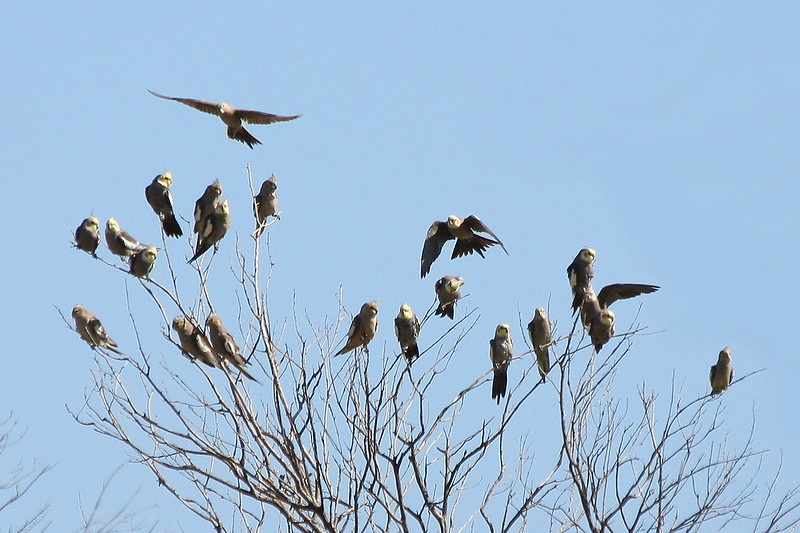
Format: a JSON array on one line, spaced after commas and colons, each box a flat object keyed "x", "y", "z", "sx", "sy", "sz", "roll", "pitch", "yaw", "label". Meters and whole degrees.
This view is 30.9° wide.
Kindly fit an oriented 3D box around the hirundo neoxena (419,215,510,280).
[{"x": 0.674, "y": -0.213, "z": 14.300, "sx": 0.924, "sy": 0.709, "sz": 0.360, "roll": -22, "pitch": -63, "yaw": -22, "label": "hirundo neoxena"}]

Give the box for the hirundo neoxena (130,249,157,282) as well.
[{"x": -2.275, "y": -0.040, "z": 12.821, "sx": 0.116, "sy": 0.330, "sz": 0.236, "roll": -3, "pitch": -58, "yaw": -16, "label": "hirundo neoxena"}]

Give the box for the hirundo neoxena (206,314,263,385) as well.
[{"x": -1.561, "y": 0.761, "z": 13.679, "sx": 0.707, "sy": 0.244, "sz": 0.529, "roll": 18, "pitch": -92, "yaw": -31, "label": "hirundo neoxena"}]

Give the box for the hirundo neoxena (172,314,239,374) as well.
[{"x": -1.878, "y": 0.742, "z": 13.496, "sx": 0.322, "sy": 0.587, "sz": 0.488, "roll": -34, "pitch": -49, "yaw": 17, "label": "hirundo neoxena"}]

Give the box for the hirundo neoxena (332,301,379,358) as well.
[{"x": -0.428, "y": 0.521, "z": 13.921, "sx": 0.252, "sy": 0.787, "sz": 0.562, "roll": -10, "pitch": -79, "yaw": -32, "label": "hirundo neoxena"}]

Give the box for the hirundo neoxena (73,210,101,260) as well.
[{"x": -3.084, "y": -0.351, "z": 14.281, "sx": 0.219, "sy": 0.435, "sz": 0.432, "roll": 13, "pitch": -77, "yaw": -27, "label": "hirundo neoxena"}]

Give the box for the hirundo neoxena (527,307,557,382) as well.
[{"x": 1.351, "y": 0.716, "z": 13.828, "sx": 0.189, "sy": 0.655, "sz": 0.435, "roll": -5, "pitch": -61, "yaw": 3, "label": "hirundo neoxena"}]

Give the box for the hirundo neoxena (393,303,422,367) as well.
[{"x": 0.071, "y": 0.598, "z": 13.762, "sx": 0.215, "sy": 0.489, "sz": 0.509, "roll": -1, "pitch": -10, "yaw": 8, "label": "hirundo neoxena"}]

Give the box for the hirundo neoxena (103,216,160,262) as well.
[{"x": -2.684, "y": -0.273, "z": 14.386, "sx": 0.556, "sy": 0.293, "sz": 0.432, "roll": -1, "pitch": -91, "yaw": -40, "label": "hirundo neoxena"}]

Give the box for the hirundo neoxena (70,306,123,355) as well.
[{"x": -2.946, "y": 0.624, "z": 14.149, "sx": 0.223, "sy": 0.429, "sz": 0.692, "roll": -11, "pitch": -24, "yaw": 41, "label": "hirundo neoxena"}]

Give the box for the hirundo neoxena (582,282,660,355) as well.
[{"x": 1.602, "y": 0.350, "z": 11.219, "sx": 0.457, "sy": 0.228, "sz": 0.430, "roll": -3, "pitch": -35, "yaw": 7, "label": "hirundo neoxena"}]

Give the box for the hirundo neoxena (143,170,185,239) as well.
[{"x": -2.371, "y": -0.533, "z": 14.539, "sx": 0.281, "sy": 0.649, "sz": 0.711, "roll": -8, "pitch": -48, "yaw": -7, "label": "hirundo neoxena"}]
